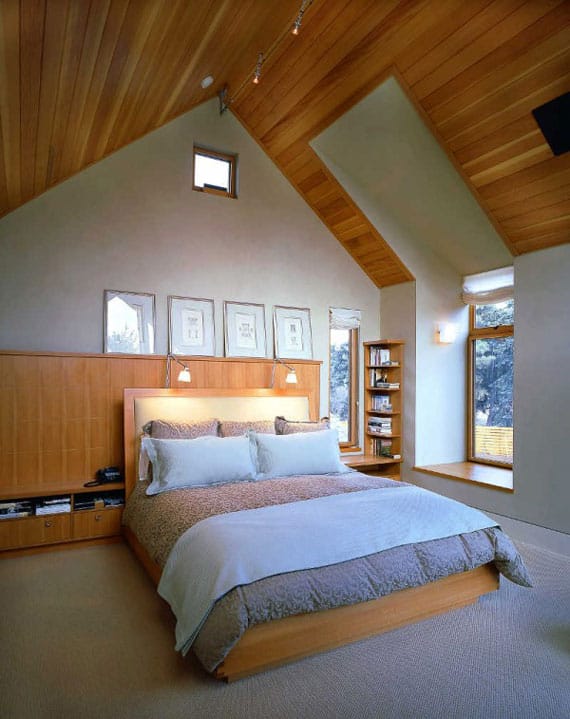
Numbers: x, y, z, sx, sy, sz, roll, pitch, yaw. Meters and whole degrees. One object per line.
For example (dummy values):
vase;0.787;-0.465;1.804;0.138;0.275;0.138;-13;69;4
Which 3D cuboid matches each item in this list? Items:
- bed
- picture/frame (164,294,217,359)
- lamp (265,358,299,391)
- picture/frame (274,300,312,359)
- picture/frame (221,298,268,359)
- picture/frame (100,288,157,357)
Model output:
bed;-0.049;0.797;3.405;1.915;1.154;2.350;1;-2;-29
picture/frame;-0.854;-0.291;4.522;0.575;0.721;0.052;1;-4;-35
lamp;-0.020;0.144;4.876;0.275;0.293;0.331;0;-2;0
picture/frame;0.054;-0.292;5.101;0.568;0.678;0.052;3;-7;-36
picture/frame;-0.403;-0.287;4.807;0.570;0.675;0.052;-2;-1;-33
picture/frame;-1.312;-0.302;4.235;0.569;0.746;0.050;0;-1;-34
